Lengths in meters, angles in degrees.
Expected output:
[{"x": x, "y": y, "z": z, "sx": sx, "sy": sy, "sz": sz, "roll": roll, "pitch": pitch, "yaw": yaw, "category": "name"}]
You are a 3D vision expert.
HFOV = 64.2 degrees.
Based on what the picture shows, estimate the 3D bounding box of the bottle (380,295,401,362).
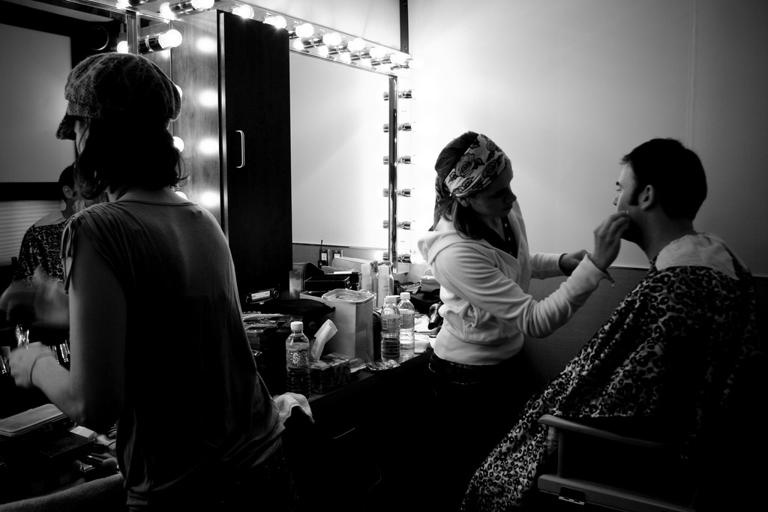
[{"x": 0.027, "y": 0.289, "z": 2.414, "sx": 0.072, "sy": 0.242, "sz": 0.095, "roll": 2, "pitch": 8, "yaw": -2, "category": "bottle"}]

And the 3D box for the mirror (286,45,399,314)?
[{"x": -0.211, "y": -0.458, "z": 3.089, "sx": 0.159, "sy": 0.991, "sz": 0.755, "roll": 7, "pitch": 9, "yaw": 31, "category": "mirror"}]

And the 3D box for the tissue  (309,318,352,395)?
[{"x": -0.206, "y": 0.359, "z": 2.206, "sx": 0.164, "sy": 0.249, "sz": 0.174, "roll": -11, "pitch": 7, "yaw": -43, "category": "tissue "}]

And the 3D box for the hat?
[{"x": -0.603, "y": -0.379, "z": 1.425, "sx": 0.234, "sy": 0.148, "sz": 0.182, "roll": 6, "pitch": 19, "yaw": 1, "category": "hat"}]
